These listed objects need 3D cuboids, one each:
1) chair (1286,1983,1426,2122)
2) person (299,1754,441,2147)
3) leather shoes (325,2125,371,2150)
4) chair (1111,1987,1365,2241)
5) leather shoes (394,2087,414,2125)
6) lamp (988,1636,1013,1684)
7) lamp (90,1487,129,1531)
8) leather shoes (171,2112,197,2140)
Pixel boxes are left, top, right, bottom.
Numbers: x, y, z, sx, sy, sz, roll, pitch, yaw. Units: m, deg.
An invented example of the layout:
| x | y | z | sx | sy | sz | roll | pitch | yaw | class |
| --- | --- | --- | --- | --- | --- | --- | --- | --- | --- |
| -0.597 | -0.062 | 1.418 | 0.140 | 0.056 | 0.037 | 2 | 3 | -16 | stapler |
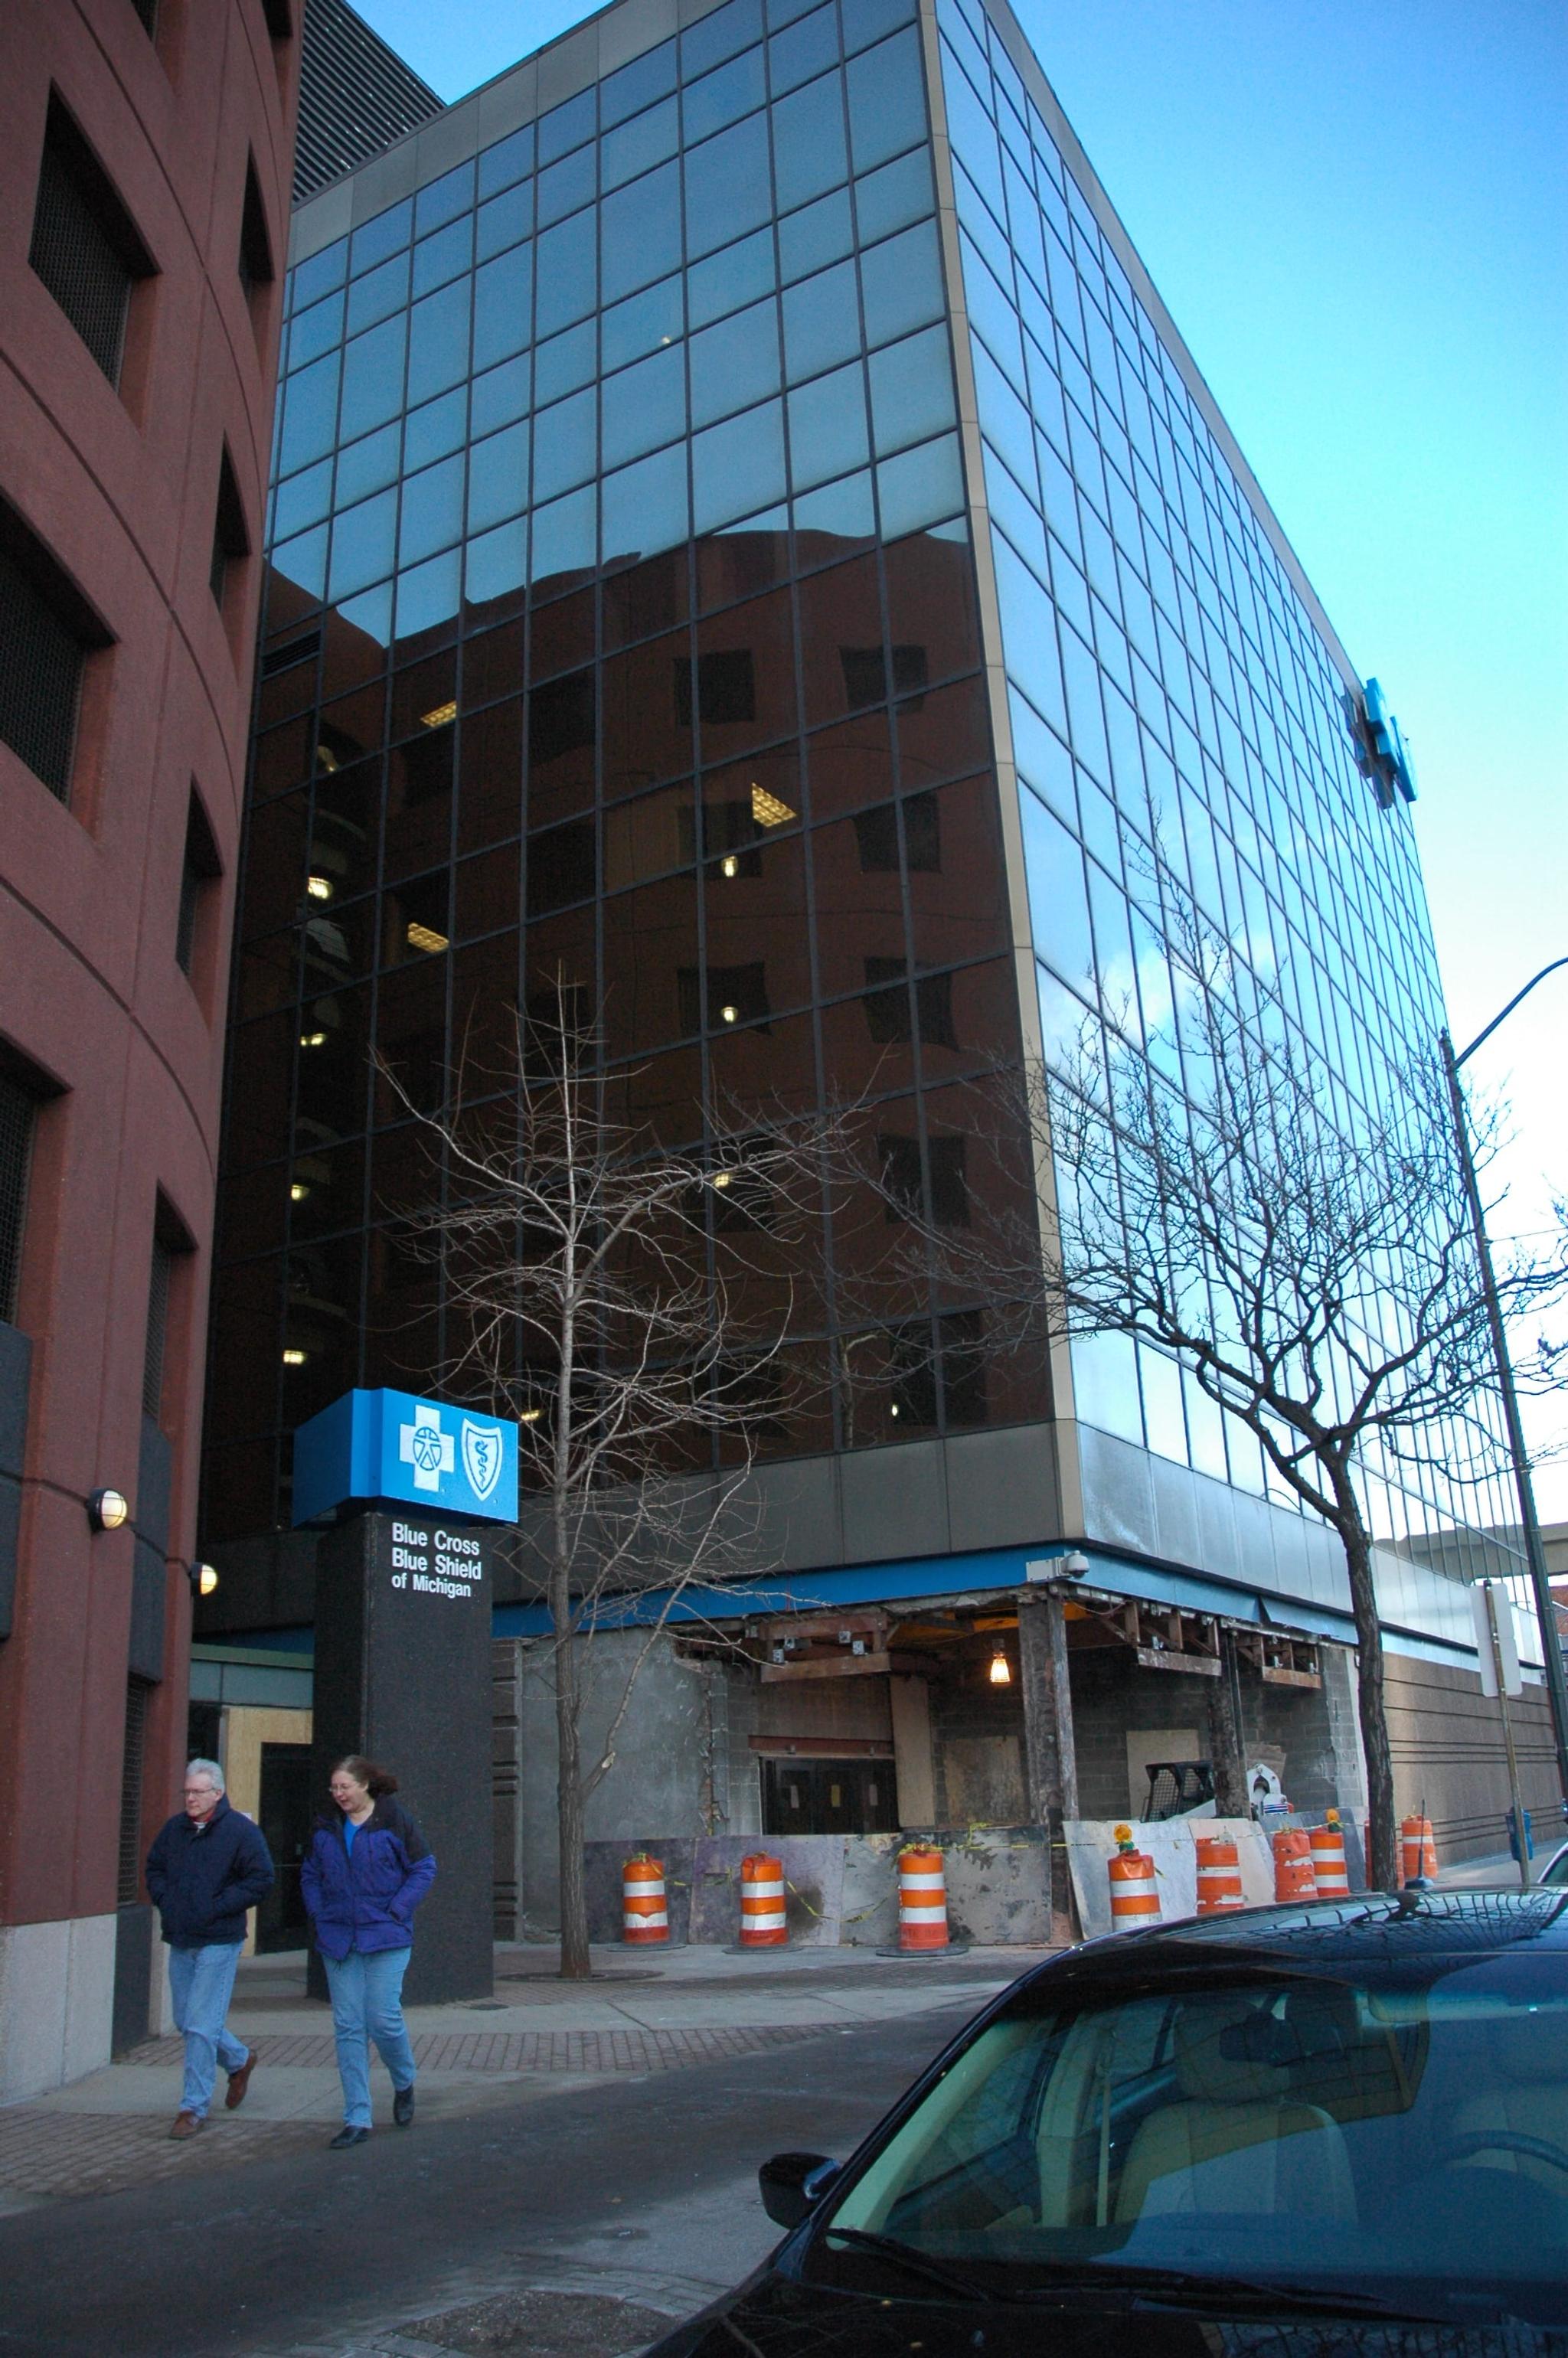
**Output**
| x | y | z | sx | sy | sz | roll | pitch | yaw | class |
| --- | --- | --- | --- | --- | --- | --- | --- | --- | --- |
| 0.721 | 1.108 | 2.058 | 0.121 | 0.123 | 0.218 | 8 | -1 | -12 | chair |
| -2.210 | 4.046 | 8.649 | 0.655 | 1.859 | 1.206 | 0 | -18 | -16 | person |
| -2.107 | 4.650 | 7.905 | 0.175 | 0.068 | 0.272 | -1 | -19 | -14 | leather shoes |
| 0.572 | 1.190 | 2.076 | 0.189 | 0.280 | 0.291 | -8 | -7 | 19 | chair |
| -1.954 | 4.798 | 8.389 | 0.097 | 0.162 | 0.288 | 0 | -19 | -17 | leather shoes |
| 3.808 | 8.658 | 28.848 | 0.460 | 0.749 | 1.284 | -6 | -18 | 4 | lamp |
| -5.055 | 2.499 | 12.278 | 0.288 | 0.314 | 0.302 | -1 | -10 | 0 | lamp |
| -3.091 | 4.892 | 8.415 | 0.113 | 0.105 | 0.207 | -4 | -18 | -5 | leather shoes |
